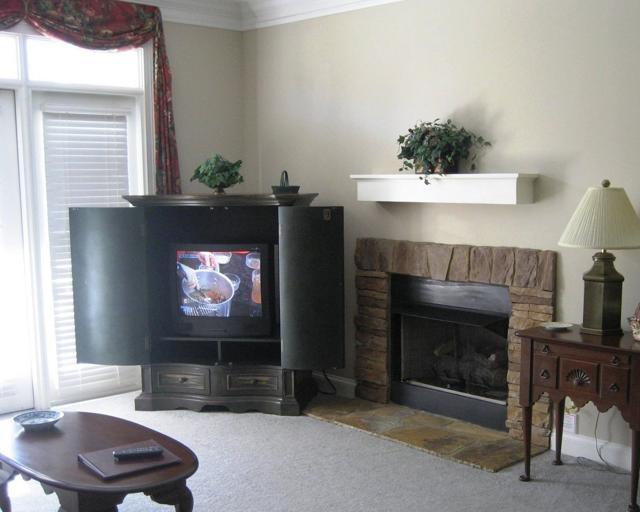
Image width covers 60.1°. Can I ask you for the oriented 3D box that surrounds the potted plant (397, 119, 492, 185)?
[{"bbox_3d":[0.838,-0.713,3.726,0.558,0.433,0.283,-3,9,-6],"label":"potted plant"}]

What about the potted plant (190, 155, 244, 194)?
[{"bbox_3d":[-0.795,-0.643,4.287,0.378,0.291,0.154,-2,9,-4],"label":"potted plant"}]

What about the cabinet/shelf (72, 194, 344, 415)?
[{"bbox_3d":[-0.815,0.385,4.453,2.257,1.682,0.765,-1,-1,19],"label":"cabinet/shelf"}]

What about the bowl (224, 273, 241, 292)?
[{"bbox_3d":[-0.660,0.188,4.231,0.126,0.084,0.117,3,2,0],"label":"bowl"}]
